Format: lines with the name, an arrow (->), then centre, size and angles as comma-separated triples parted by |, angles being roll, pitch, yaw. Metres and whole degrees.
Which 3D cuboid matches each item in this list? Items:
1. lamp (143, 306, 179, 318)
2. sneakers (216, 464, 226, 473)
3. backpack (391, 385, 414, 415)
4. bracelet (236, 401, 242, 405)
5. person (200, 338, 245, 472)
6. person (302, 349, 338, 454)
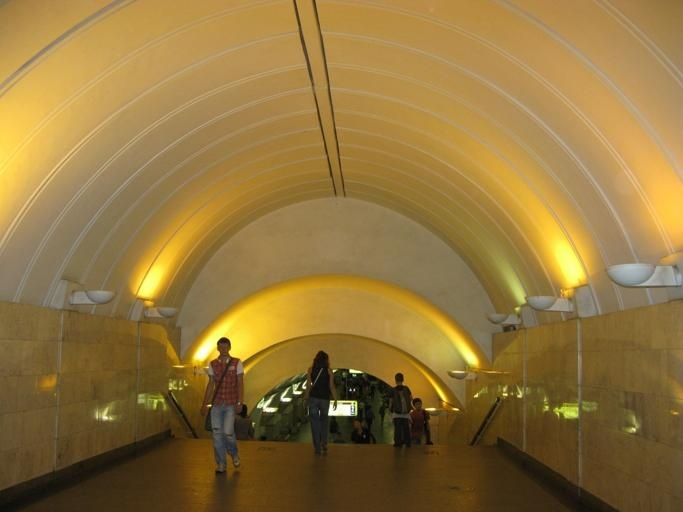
lamp -> -4.230, 1.334, 12.283 | 0.495, 0.220, 0.353 | -1, -5, 14
sneakers -> -1.926, 3.442, 8.396 | 0.073, 0.112, 0.239 | 2, -4, 5
backpack -> 1.249, 3.068, 10.951 | 0.407, 0.645, 0.346 | 0, -10, 4
bracelet -> -1.632, 2.385, 8.363 | 0.064, 0.071, 0.070 | 3, 2, 13
person -> -1.889, 2.430, 8.392 | 0.570, 2.145, 0.538 | 3, -10, -15
person -> -0.404, 2.828, 9.904 | 0.529, 1.952, 1.125 | 1, -10, -3
